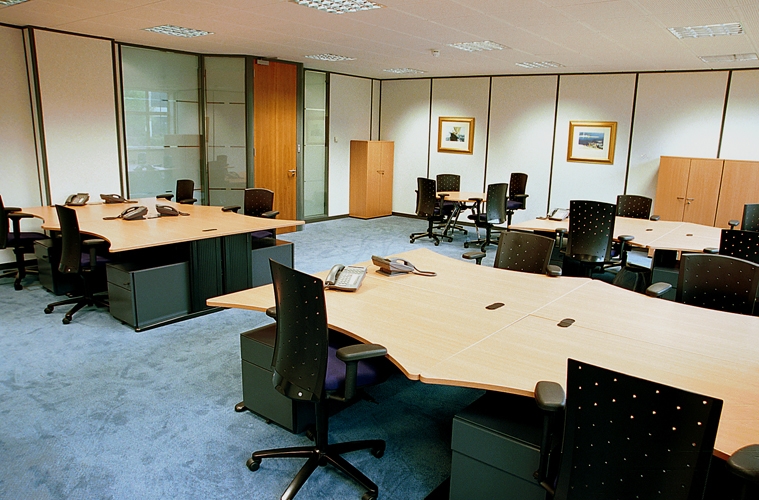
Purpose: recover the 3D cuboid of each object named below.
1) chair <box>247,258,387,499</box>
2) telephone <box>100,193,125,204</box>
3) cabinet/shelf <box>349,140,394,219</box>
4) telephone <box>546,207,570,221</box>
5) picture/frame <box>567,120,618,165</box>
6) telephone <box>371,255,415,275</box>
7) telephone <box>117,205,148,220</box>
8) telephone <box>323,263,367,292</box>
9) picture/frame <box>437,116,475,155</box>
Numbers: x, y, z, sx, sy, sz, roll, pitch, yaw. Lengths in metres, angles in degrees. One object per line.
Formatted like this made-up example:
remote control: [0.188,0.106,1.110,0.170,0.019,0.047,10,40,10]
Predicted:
chair: [-0.473,0.898,3.379,1.022,1.650,0.529,0,14,-2]
telephone: [-4.010,-0.778,7.365,0.349,0.103,0.184,-5,8,-36]
cabinet/shelf: [-0.232,-1.695,11.804,1.016,1.852,0.592,-1,14,-9]
telephone: [2.717,-0.536,7.402,0.262,0.052,0.351,10,17,36]
picture/frame: [4.329,-2.184,9.852,1.000,0.855,0.078,13,16,33]
telephone: [0.120,0.144,4.518,0.296,0.080,0.206,-6,13,-29]
telephone: [-3.201,-0.508,6.395,0.233,0.112,0.293,9,14,25]
telephone: [-0.305,0.244,4.137,0.279,0.063,0.277,4,26,13]
picture/frame: [1.804,-2.688,11.357,1.094,0.915,0.073,7,12,27]
